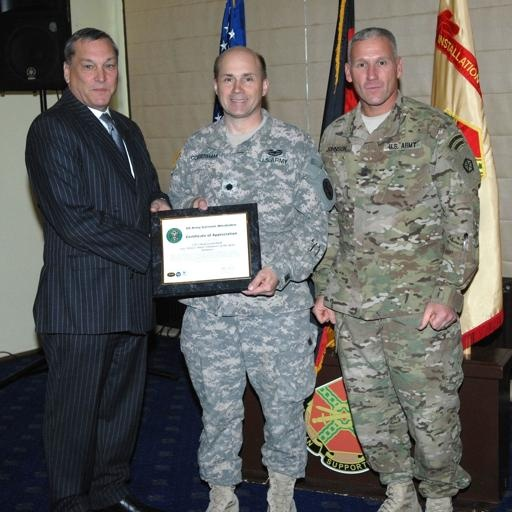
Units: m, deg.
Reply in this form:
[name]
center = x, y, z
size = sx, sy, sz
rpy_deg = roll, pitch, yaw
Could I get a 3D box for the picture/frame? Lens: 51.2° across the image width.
[picture/frame]
center = -0.183, 0.046, 1.804
size = 0.409, 0.481, 0.105
rpy_deg = -3, 38, -14
